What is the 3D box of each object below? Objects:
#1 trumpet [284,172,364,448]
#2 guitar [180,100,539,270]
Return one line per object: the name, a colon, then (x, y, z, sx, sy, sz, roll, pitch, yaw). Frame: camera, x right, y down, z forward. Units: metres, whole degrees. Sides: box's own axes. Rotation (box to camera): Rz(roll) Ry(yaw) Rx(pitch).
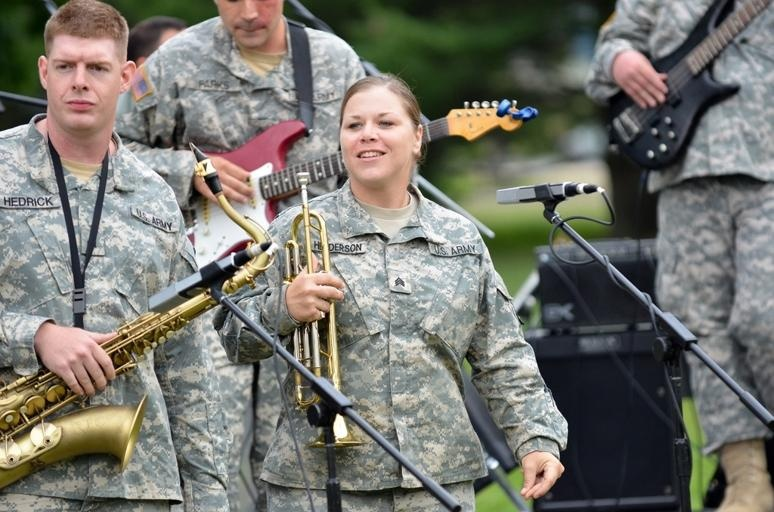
trumpet: (-0.411, 0.291, 10.155, 0.273, 1.500, 0.377, -4, -8, -34)
guitar: (-0.197, -0.496, 12.410, 2.864, 0.852, 0.339, -19, -12, 1)
